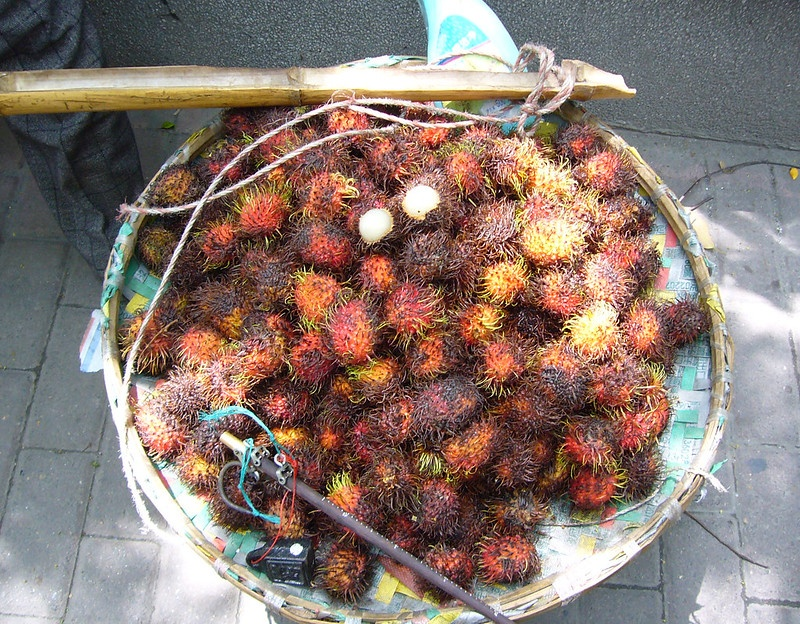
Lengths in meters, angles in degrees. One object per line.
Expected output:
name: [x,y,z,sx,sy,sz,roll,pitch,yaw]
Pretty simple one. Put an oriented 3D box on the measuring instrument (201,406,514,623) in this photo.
measuring instrument: [-0.206,0.644,2.240,1.066,0.214,0.259,38,84,4]
